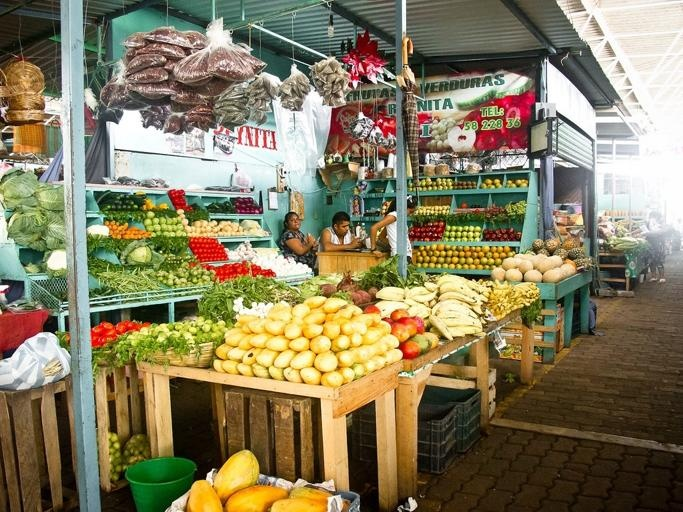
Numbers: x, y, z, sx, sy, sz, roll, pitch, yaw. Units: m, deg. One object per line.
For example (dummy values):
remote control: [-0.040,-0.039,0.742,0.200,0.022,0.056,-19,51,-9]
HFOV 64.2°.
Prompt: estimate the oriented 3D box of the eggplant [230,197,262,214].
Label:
eggplant: [-1.548,-0.812,8.569,0.326,0.096,0.318,4,28,-30]

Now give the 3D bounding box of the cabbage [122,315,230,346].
cabbage: [-1.130,0.522,3.747,0.441,0.091,0.298,-2,1,-2]

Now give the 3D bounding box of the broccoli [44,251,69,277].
broccoli: [-2.752,0.078,5.229,0.094,0.246,0.228,-11,-13,43]

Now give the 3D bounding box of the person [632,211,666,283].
person: [9.551,-0.270,16.909,0.955,2.448,1.119,2,7,23]

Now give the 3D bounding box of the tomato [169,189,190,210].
tomato: [-2.266,-0.764,7.472,0.210,0.289,0.094,-14,8,-29]

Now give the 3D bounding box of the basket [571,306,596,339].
basket: [4.011,1.022,8.908,0.502,0.523,0.410,1,-1,30]

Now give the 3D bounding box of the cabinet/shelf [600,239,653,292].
cabinet/shelf: [7.044,0.188,13.619,1.061,1.148,2.105,3,7,27]

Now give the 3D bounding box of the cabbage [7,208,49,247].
cabbage: [-3.131,-0.281,5.394,0.357,0.360,0.151,-2,6,-17]
